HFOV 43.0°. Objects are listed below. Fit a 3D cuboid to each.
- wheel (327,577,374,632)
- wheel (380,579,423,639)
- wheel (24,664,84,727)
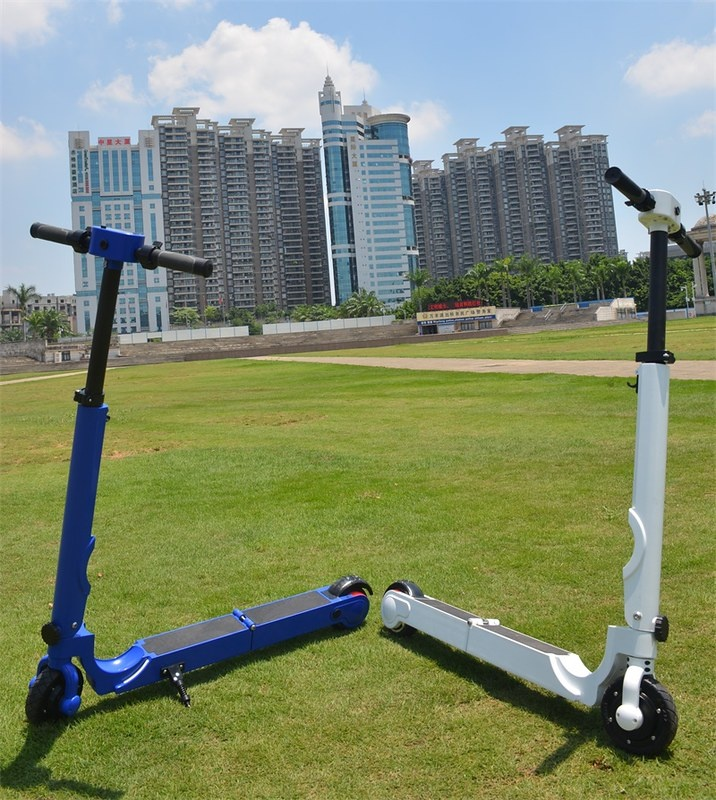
[{"bbox_3d":[-0.042,1.144,5.224,0.247,0.292,0.257,1,2,0],"label":"wheel"},{"bbox_3d":[0.247,1.151,4.973,0.095,0.284,0.251,14,-19,-38],"label":"wheel"},{"bbox_3d":[-1.420,1.401,4.311,0.168,0.302,0.265,14,16,36],"label":"wheel"}]
